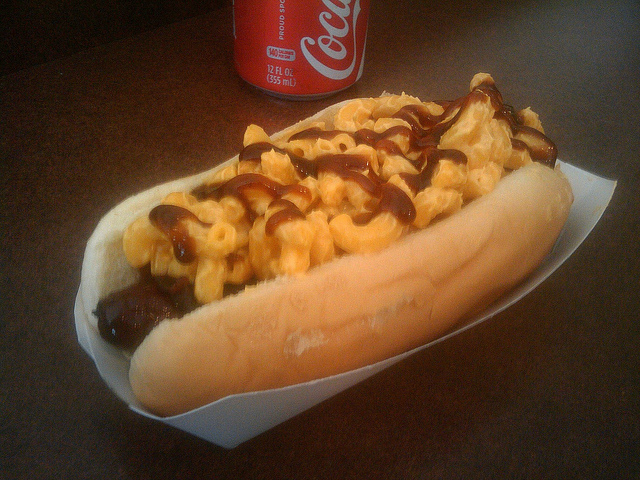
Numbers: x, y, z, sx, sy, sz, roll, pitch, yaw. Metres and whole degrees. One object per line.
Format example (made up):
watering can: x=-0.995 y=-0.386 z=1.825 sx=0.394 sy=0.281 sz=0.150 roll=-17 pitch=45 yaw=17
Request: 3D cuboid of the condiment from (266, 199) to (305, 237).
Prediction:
condiment: x=-0.092 y=-0.067 z=1.440 sx=0.101 sy=0.048 sz=0.087 roll=-19 pitch=75 yaw=-11

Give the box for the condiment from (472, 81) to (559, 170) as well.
condiment: x=0.611 y=-0.323 z=1.825 sx=0.350 sy=0.091 sz=0.190 roll=44 pitch=67 yaw=-18
